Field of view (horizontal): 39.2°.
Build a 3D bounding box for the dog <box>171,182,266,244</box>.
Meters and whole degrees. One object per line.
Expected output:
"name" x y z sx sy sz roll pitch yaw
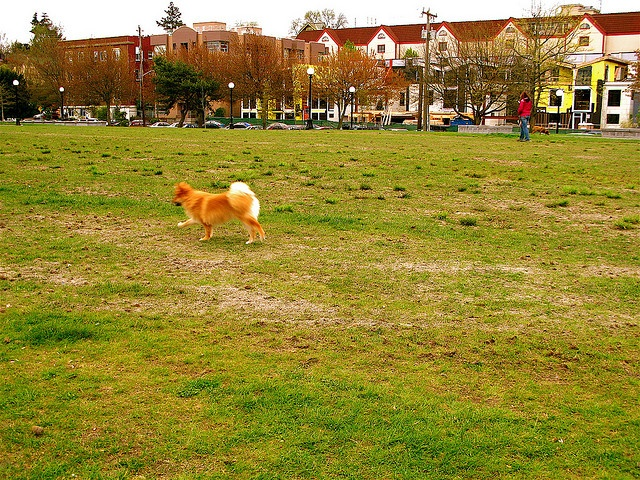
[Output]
"dog" -1.500 -0.417 13.416 1.422 0.905 0.441 3 7 12
